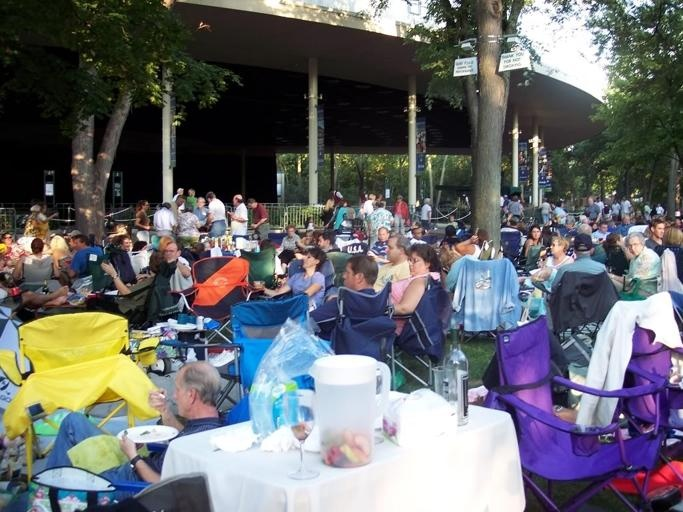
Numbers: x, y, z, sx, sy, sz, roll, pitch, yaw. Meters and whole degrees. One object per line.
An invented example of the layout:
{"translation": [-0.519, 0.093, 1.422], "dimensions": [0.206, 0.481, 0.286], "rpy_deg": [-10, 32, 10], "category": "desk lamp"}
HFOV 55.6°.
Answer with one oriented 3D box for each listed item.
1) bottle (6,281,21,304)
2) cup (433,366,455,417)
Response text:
{"translation": [-4.145, 0.459, 8.170], "dimensions": [0.197, 0.211, 0.201], "rpy_deg": [-1, 4, -31], "category": "bottle"}
{"translation": [0.573, 0.738, 3.642], "dimensions": [0.120, 0.233, 0.135], "rpy_deg": [-3, 3, 10], "category": "cup"}
